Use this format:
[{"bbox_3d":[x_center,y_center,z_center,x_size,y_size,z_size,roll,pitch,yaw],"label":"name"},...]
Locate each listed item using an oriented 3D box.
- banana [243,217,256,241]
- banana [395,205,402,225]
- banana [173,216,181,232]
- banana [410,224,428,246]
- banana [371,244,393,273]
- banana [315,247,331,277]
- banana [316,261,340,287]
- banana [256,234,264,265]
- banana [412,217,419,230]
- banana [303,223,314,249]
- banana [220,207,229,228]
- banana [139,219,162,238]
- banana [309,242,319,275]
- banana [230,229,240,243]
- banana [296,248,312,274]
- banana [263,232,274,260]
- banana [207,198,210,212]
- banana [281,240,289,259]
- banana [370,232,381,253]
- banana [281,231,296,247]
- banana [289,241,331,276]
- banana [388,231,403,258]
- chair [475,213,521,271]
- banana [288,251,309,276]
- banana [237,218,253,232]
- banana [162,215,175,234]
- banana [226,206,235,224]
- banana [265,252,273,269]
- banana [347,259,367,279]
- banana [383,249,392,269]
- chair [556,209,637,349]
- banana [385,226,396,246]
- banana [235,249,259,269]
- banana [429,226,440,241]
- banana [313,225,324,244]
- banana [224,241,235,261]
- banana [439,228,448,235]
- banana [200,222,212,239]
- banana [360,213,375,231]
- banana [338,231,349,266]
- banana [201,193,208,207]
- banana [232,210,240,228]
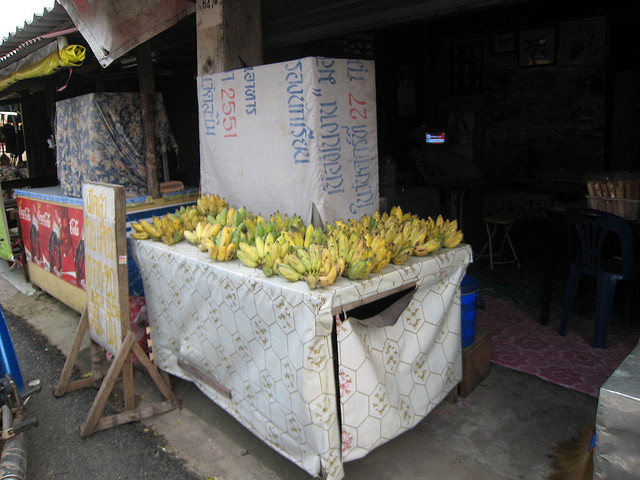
[{"bbox_3d":[-0.645,-0.132,4.420,0.081,0.086,0.283,11,38,-38],"label":"banana"},{"bbox_3d":[0.756,-0.230,4.504,0.055,0.216,0.059,-4,-31,3],"label":"banana"},{"bbox_3d":[-1.425,-0.165,4.696,0.067,0.148,0.042,0,-10,-21],"label":"banana"},{"bbox_3d":[0.856,-0.033,4.048,0.077,0.251,0.089,28,-22,9],"label":"banana"},{"bbox_3d":[0.500,0.120,3.720,0.072,0.239,0.116,24,17,9],"label":"banana"},{"bbox_3d":[0.029,0.160,3.516,0.066,0.233,0.057,-5,-19,30],"label":"banana"},{"bbox_3d":[0.069,0.251,3.474,0.099,0.147,0.225,7,16,30],"label":"banana"},{"bbox_3d":[-0.481,0.074,3.904,0.053,0.231,0.055,-12,-1,23],"label":"banana"},{"bbox_3d":[0.876,-0.170,4.298,0.067,0.028,0.118,-7,43,46],"label":"banana"},{"bbox_3d":[-0.098,-0.046,4.047,0.054,0.228,0.066,20,-24,-31],"label":"banana"},{"bbox_3d":[-0.957,-0.249,4.709,0.086,0.081,0.275,2,41,4],"label":"banana"},{"bbox_3d":[-1.706,-0.117,4.748,0.185,0.067,0.054,46,46,17],"label":"banana"},{"bbox_3d":[-0.038,0.133,3.580,0.067,0.235,0.058,-3,-10,-4],"label":"banana"},{"bbox_3d":[-0.754,-0.047,4.188,0.080,0.086,0.109,-4,14,-10],"label":"banana"},{"bbox_3d":[-0.116,0.135,3.582,0.067,0.230,0.066,-24,-21,-7],"label":"banana"},{"bbox_3d":[-0.426,0.033,3.902,0.053,0.063,0.221,0,52,13],"label":"banana"},{"bbox_3d":[-1.205,-0.386,5.106,0.026,0.118,0.137,-4,14,-13],"label":"banana"},{"bbox_3d":[-0.277,0.069,3.838,0.036,0.145,0.043,10,-23,9],"label":"banana"},{"bbox_3d":[0.457,0.011,3.764,0.046,0.053,0.166,5,52,-2],"label":"banana"},{"bbox_3d":[-0.261,-0.038,3.900,0.060,0.063,0.195,-16,36,-23],"label":"banana"},{"bbox_3d":[-0.068,0.120,3.613,0.265,0.249,0.097,16,-8,24],"label":"banana"},{"bbox_3d":[0.638,0.012,3.957,0.072,0.091,0.268,-5,42,24],"label":"banana"},{"bbox_3d":[2.998,-0.010,8.318,0.594,0.843,0.696,5,15,-24],"label":"chair"},{"bbox_3d":[-0.175,0.179,3.653,0.079,0.251,0.084,-39,-16,20],"label":"banana"},{"bbox_3d":[-0.714,-0.149,4.481,0.164,0.094,0.058,-19,28,55],"label":"banana"},{"bbox_3d":[-1.529,-0.173,4.712,0.069,0.234,0.080,-11,-26,-42],"label":"banana"},{"bbox_3d":[-0.892,-0.262,4.758,0.047,0.056,0.189,26,45,-14],"label":"banana"},{"bbox_3d":[-0.393,0.155,3.689,0.029,0.138,0.048,-4,-9,-10],"label":"banana"},{"bbox_3d":[0.271,0.219,3.596,0.079,0.233,0.067,-11,57,-49],"label":"banana"},{"bbox_3d":[0.545,0.134,3.793,0.052,0.173,0.041,0,-14,36],"label":"banana"},{"bbox_3d":[3.576,0.246,5.975,0.849,1.557,1.912,7,16,31],"label":"chair"},{"bbox_3d":[0.583,-0.041,3.921,0.064,0.077,0.212,22,46,12],"label":"banana"},{"bbox_3d":[-0.607,0.156,3.930,0.188,0.141,0.092,8,16,35],"label":"banana"},{"bbox_3d":[1.044,-0.086,4.280,0.050,0.085,0.270,-5,20,25],"label":"banana"},{"bbox_3d":[-0.017,-0.057,4.045,0.068,0.127,0.039,-4,-22,-18],"label":"banana"},{"bbox_3d":[-0.781,0.096,4.098,0.067,0.158,0.051,20,10,-47],"label":"banana"},{"bbox_3d":[1.133,-0.087,4.332,0.047,0.055,0.016,-4,-29,21],"label":"banana"},{"bbox_3d":[-1.081,-0.115,4.472,0.055,0.050,0.210,4,55,39],"label":"banana"},{"bbox_3d":[0.431,-0.164,4.340,0.115,0.174,0.050,1,-27,2],"label":"banana"},{"bbox_3d":[0.182,0.055,3.701,0.055,0.083,0.247,6,57,-8],"label":"banana"},{"bbox_3d":[-1.272,-0.463,5.255,0.068,0.111,0.281,1,18,-11],"label":"banana"},{"bbox_3d":[-0.828,-0.216,4.659,0.048,0.177,0.057,7,-1,-10],"label":"banana"}]
